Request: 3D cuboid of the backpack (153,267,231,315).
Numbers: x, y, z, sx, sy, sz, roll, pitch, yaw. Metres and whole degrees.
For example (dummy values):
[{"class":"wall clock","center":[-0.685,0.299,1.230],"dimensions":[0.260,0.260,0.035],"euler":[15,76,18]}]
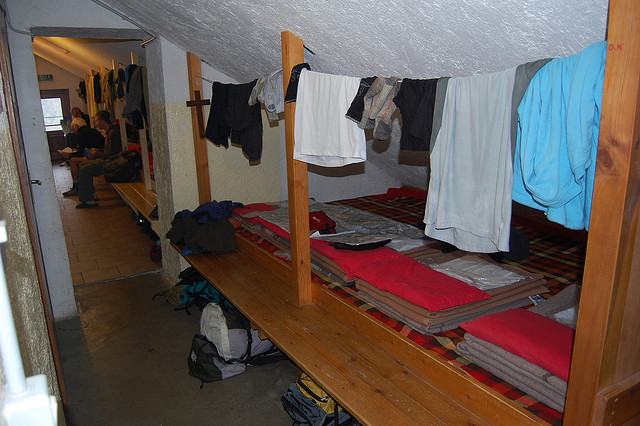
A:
[{"class":"backpack","center":[-1.215,0.695,3.990],"dimensions":[0.381,0.186,0.530],"euler":[-2,9,-42]}]
